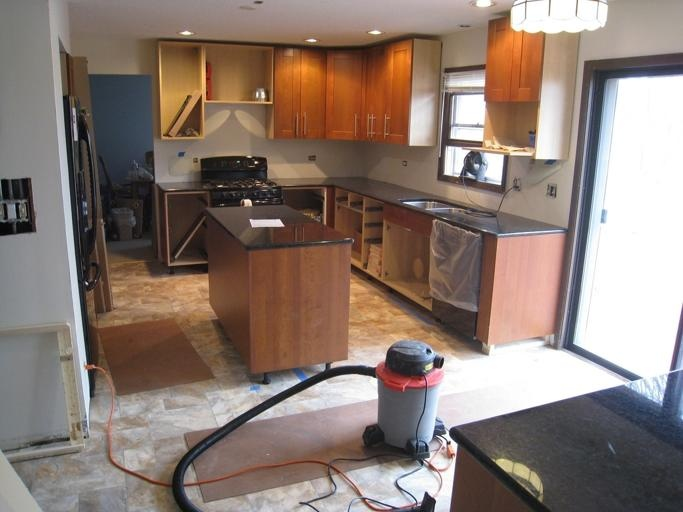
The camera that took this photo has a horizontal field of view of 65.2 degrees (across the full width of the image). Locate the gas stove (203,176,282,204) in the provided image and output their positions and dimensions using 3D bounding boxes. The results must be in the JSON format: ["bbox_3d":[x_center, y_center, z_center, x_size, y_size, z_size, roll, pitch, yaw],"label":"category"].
[{"bbox_3d":[-1.175,-0.744,6.335,0.882,0.251,0.532,-6,16,-17],"label":"gas stove"}]

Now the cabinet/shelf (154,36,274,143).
[{"bbox_3d":[-1.584,-2.044,6.400,1.058,0.904,0.320,-4,13,-25],"label":"cabinet/shelf"}]

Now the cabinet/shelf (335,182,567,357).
[{"bbox_3d":[0.936,-0.008,5.339,0.769,1.062,2.500,-8,17,-26],"label":"cabinet/shelf"}]

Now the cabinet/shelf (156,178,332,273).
[{"bbox_3d":[-1.017,-0.282,6.045,2.055,0.989,2.131,-6,16,-19],"label":"cabinet/shelf"}]

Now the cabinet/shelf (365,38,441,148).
[{"bbox_3d":[0.695,-1.803,5.819,0.380,0.994,1.044,-7,18,-27],"label":"cabinet/shelf"}]

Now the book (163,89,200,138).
[{"bbox_3d":[-1.898,-1.681,6.339,0.460,0.515,0.324,-6,16,-17],"label":"book"}]

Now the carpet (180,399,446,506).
[{"bbox_3d":[-0.288,1.165,3.189,1.246,0.082,0.723,-7,16,-21],"label":"carpet"}]
